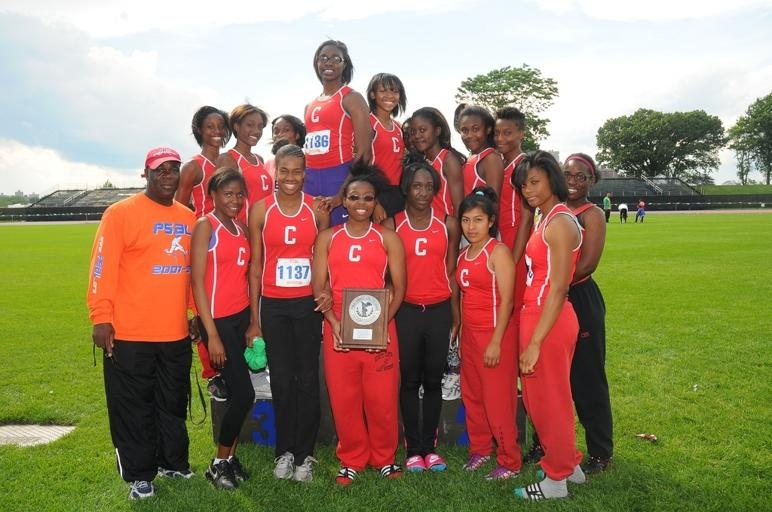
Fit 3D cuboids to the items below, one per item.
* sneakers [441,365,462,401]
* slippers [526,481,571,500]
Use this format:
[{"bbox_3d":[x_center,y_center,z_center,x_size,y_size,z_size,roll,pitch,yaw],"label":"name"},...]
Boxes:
[{"bbox_3d":[0.885,1.757,7.728,0.275,0.387,0.115,13,-8,-3],"label":"sneakers"},{"bbox_3d":[1.900,2.731,6.677,0.556,0.245,0.130,-1,2,-2],"label":"slippers"}]
